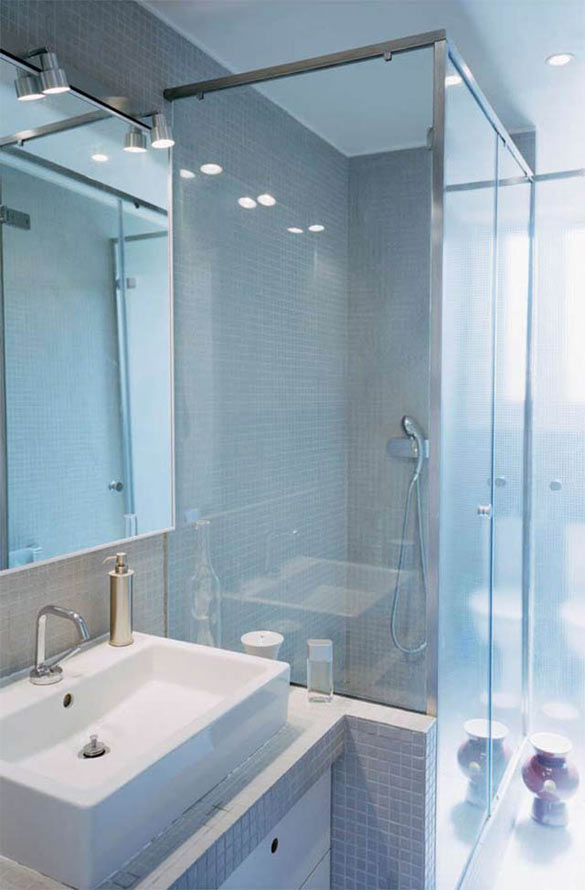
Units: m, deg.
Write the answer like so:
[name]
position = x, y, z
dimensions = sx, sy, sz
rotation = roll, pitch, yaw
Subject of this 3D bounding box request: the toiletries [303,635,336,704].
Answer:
[toiletries]
position = 0.068, 0.559, 1.738
dimensions = 0.084, 0.149, 0.060
rotation = 10, 7, 6

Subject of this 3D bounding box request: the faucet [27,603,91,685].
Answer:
[faucet]
position = -0.464, 0.400, 1.380
dimensions = 0.108, 0.160, 0.061
rotation = 4, 14, -2

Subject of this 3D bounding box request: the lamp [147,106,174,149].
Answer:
[lamp]
position = -0.324, -0.795, 1.752
dimensions = 0.051, 0.105, 0.095
rotation = -3, -4, -9
